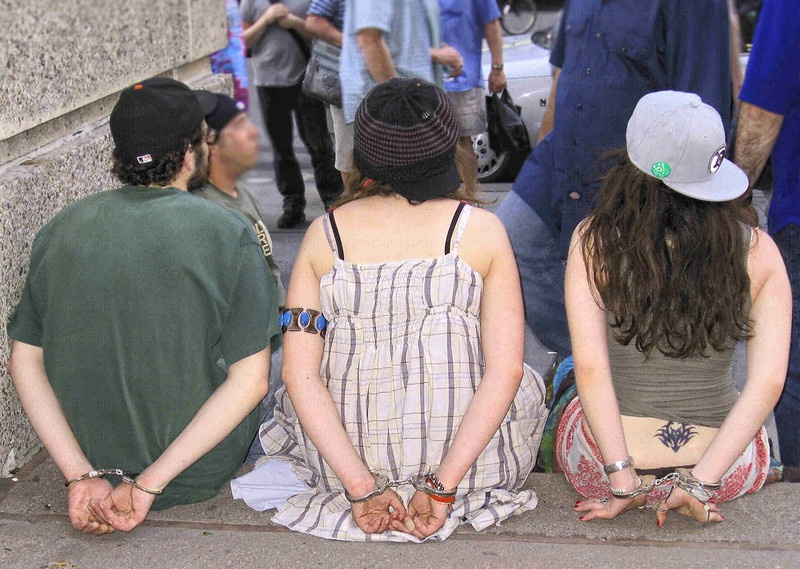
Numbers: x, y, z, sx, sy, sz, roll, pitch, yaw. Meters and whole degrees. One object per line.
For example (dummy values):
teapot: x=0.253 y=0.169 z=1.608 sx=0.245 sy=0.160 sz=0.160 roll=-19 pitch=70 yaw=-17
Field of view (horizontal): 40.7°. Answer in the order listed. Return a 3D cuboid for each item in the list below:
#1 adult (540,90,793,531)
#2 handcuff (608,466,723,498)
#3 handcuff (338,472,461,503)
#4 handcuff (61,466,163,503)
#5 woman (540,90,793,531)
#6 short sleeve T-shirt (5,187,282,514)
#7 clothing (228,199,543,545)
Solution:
adult: x=1.106 y=0.108 z=4.303 sx=0.879 sy=1.417 sz=0.987 roll=-1 pitch=34 yaw=7
handcuff: x=1.054 y=0.806 z=4.255 sx=0.306 sy=0.097 sz=0.175 roll=-10 pitch=-9 yaw=-6
handcuff: x=0.036 y=0.797 z=4.274 sx=0.325 sy=0.082 sz=0.182 roll=0 pitch=7 yaw=4
handcuff: x=-1.112 y=0.773 z=4.254 sx=0.275 sy=0.179 sz=0.064 roll=-2 pitch=-20 yaw=4
woman: x=1.107 y=0.107 z=4.305 sx=0.878 sy=1.417 sz=0.985 roll=-1 pitch=34 yaw=6
short sleeve T-shirt: x=-1.041 y=0.282 z=4.318 sx=1.103 sy=1.194 sz=0.587 roll=4 pitch=9 yaw=0
clothing: x=0.086 y=0.089 z=4.719 sx=1.444 sy=1.581 sz=1.228 roll=2 pitch=10 yaw=13
